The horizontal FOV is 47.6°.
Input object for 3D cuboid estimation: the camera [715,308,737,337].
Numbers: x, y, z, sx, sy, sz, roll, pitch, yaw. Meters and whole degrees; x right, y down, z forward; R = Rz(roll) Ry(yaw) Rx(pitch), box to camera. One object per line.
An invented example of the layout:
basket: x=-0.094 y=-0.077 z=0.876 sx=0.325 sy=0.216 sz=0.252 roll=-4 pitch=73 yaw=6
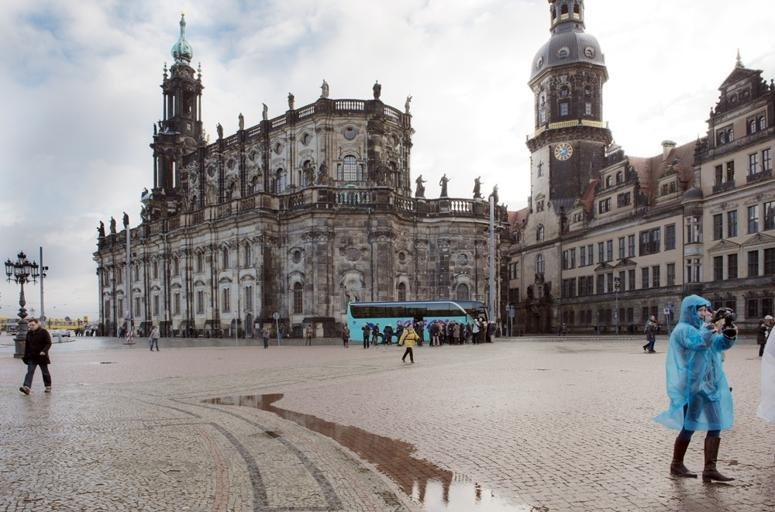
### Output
camera: x=8.959 y=1.649 z=23.079 sx=0.376 sy=0.487 sz=0.801 roll=4 pitch=12 yaw=14

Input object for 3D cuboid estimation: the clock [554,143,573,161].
clock: x=17.573 y=-10.344 z=87.399 sx=1.690 sy=1.560 sz=1.622 roll=-6 pitch=1 yaw=1

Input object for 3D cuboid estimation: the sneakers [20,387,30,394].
sneakers: x=-12.436 y=4.514 z=29.762 sx=0.131 sy=0.233 sz=0.165 roll=-10 pitch=17 yaw=11

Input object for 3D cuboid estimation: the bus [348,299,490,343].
bus: x=2.509 y=4.553 z=59.172 sx=11.849 sy=3.220 sz=3.352 roll=-1 pitch=-4 yaw=9

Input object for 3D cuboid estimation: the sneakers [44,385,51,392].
sneakers: x=-11.884 y=4.565 z=30.358 sx=0.141 sy=0.148 sz=0.371 roll=1 pitch=-7 yaw=-30
